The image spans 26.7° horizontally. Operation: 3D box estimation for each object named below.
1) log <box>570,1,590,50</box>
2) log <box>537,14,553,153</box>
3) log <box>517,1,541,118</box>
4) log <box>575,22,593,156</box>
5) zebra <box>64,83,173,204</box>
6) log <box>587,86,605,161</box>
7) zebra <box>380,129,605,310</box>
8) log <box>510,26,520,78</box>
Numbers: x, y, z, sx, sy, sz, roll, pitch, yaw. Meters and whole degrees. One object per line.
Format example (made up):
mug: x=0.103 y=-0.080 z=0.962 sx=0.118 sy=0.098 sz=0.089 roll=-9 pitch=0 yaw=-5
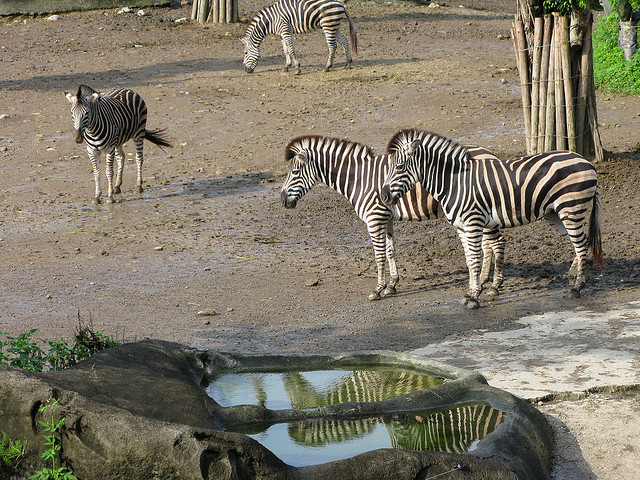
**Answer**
log: x=3.876 y=-3.248 z=20.235 sx=0.196 sy=0.650 sz=0.666 roll=11 pitch=-31 yaw=17
log: x=3.406 y=-2.377 z=20.531 sx=0.231 sy=2.125 sz=0.194 roll=2 pitch=0 yaw=38
log: x=3.207 y=-2.808 z=20.731 sx=0.254 sy=1.674 sz=0.248 roll=0 pitch=10 yaw=13
log: x=4.010 y=-2.252 z=20.493 sx=0.173 sy=1.897 sz=0.156 roll=-2 pitch=2 yaw=-2
zebra: x=-3.404 y=-1.639 z=22.388 sx=0.800 sy=1.924 sz=1.714 roll=-6 pitch=7 yaw=18
log: x=4.221 y=-1.747 z=20.678 sx=0.192 sy=1.217 sz=0.150 roll=-3 pitch=17 yaw=37
zebra: x=2.280 y=-0.175 z=18.250 sx=2.861 sy=1.944 sz=0.778 roll=-1 pitch=12 yaw=8
log: x=2.985 y=-2.940 z=20.809 sx=0.140 sy=0.871 sz=0.128 roll=-2 pitch=-14 yaw=6
